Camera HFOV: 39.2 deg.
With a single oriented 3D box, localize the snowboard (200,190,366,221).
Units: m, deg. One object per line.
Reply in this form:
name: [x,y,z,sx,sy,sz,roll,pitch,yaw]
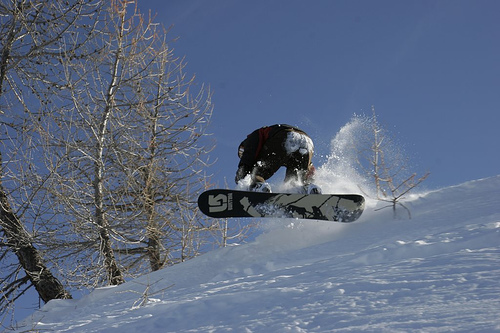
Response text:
snowboard: [0.581,0.801,14.037,3.283,0.694,0.553,0,-41,8]
